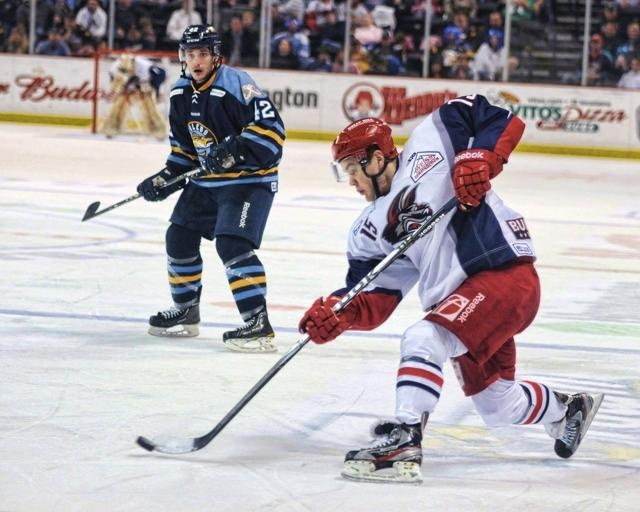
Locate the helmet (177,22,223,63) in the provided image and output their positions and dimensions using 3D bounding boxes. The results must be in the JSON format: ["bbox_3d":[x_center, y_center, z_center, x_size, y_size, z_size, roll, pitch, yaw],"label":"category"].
[{"bbox_3d":[-0.559,-1.004,4.345,0.195,0.166,0.204,-2,14,18],"label":"helmet"}]

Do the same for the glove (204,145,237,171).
[{"bbox_3d":[-0.479,-0.445,4.302,0.193,0.131,0.082,9,10,42],"label":"glove"}]

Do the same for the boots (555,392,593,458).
[{"bbox_3d":[0.891,0.592,3.266,0.110,0.218,0.084,34,-5,-40],"label":"boots"}]

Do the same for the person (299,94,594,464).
[{"bbox_3d":[0.446,0.066,3.192,0.936,1.244,0.565,-1,10,-30],"label":"person"}]

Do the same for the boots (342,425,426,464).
[{"bbox_3d":[0.220,0.610,2.991,0.317,0.109,0.102,-15,-17,36],"label":"boots"}]

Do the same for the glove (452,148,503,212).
[{"bbox_3d":[0.537,-0.242,3.103,0.203,0.186,0.101,-4,-27,37],"label":"glove"}]

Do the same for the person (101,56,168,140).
[{"bbox_3d":[-2.668,-2.284,13.478,1.321,1.077,0.486,3,21,-7],"label":"person"}]
